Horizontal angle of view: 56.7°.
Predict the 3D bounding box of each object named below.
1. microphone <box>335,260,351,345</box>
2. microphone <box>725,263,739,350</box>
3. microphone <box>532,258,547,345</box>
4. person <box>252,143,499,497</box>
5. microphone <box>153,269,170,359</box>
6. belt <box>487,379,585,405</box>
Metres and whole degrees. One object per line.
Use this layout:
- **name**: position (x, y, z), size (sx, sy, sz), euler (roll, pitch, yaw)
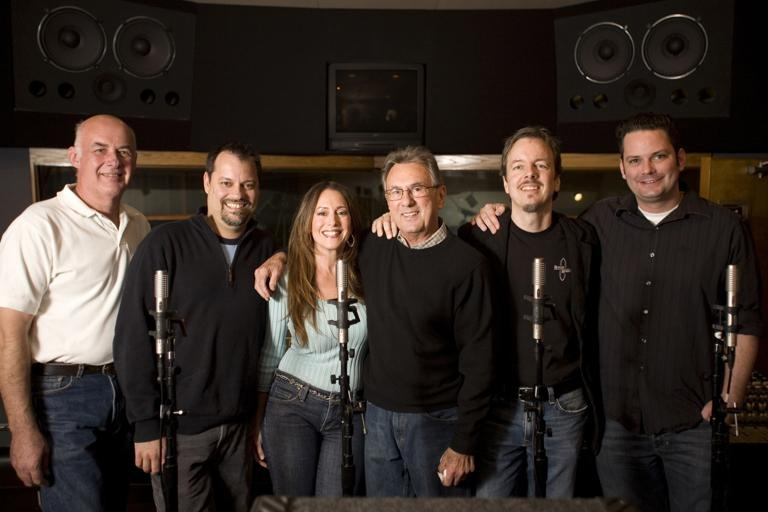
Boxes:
- **microphone**: position (-0.204, 0.226, 3.518), size (0.056, 0.431, 0.099), euler (-1, 3, -5)
- **microphone**: position (1.743, 0.253, 3.577), size (0.052, 0.417, 0.068), euler (1, 3, 24)
- **microphone**: position (0.782, 0.218, 3.618), size (0.055, 0.419, 0.170), euler (0, 3, 12)
- **person**: position (0.219, 0.357, 3.841), size (0.739, 1.899, 0.286), euler (0, 3, 5)
- **microphone**: position (-1.110, 0.282, 3.541), size (0.066, 0.427, 0.154), euler (-1, 3, -18)
- **belt**: position (0.810, 0.719, 3.841), size (0.361, 0.078, 0.202), euler (-1, -3, 5)
